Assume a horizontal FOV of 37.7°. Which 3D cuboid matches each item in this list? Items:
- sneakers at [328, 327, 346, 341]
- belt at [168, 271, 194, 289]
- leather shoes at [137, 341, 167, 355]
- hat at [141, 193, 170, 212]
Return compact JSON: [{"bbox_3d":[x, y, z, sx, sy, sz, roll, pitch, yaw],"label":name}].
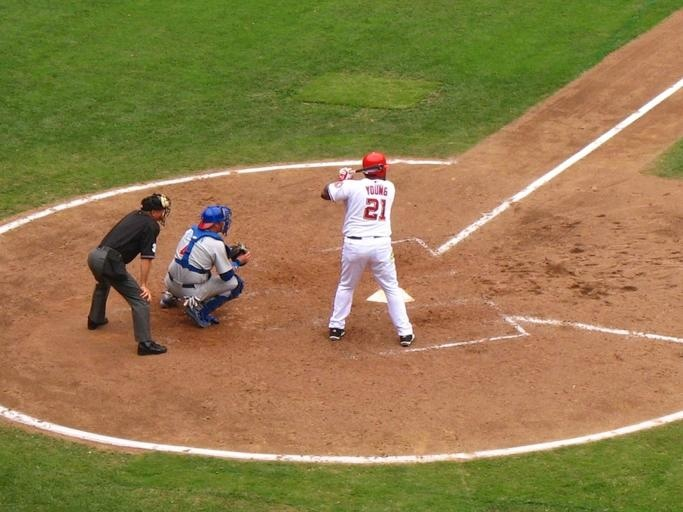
[{"bbox_3d":[-0.109,1.040,13.168,0.136,0.248,0.083,3,101,11],"label":"sneakers"},{"bbox_3d":[-2.180,0.338,13.290,0.328,0.265,0.051,13,104,7],"label":"belt"},{"bbox_3d":[-2.485,1.194,12.792,0.451,0.150,0.132,-1,106,-12],"label":"leather shoes"},{"bbox_3d":[-2.449,-0.696,12.865,0.403,0.179,0.207,-7,38,-12],"label":"hat"}]
